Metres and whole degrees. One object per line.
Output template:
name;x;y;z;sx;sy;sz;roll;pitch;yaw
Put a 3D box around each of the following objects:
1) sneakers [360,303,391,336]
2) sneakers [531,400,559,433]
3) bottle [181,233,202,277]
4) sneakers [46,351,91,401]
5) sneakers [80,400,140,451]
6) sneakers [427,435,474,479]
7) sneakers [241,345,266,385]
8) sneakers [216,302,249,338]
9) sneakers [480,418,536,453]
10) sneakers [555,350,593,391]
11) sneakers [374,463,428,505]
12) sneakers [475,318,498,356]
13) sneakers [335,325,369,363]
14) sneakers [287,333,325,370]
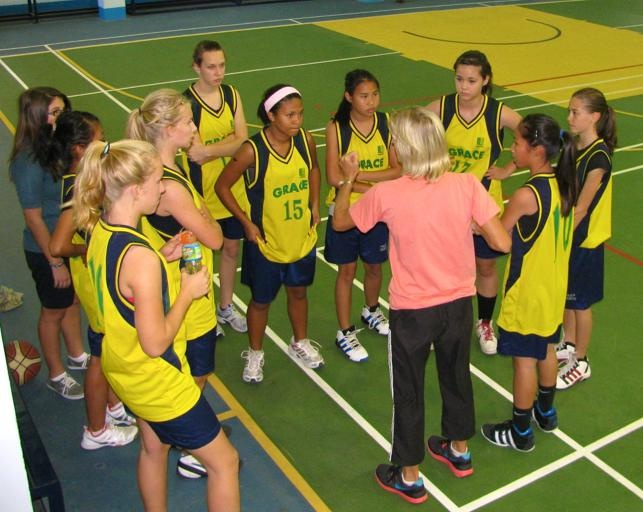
sneakers;0.570;0.679;5.980;0.392;0.285;0.170;34;53;27
sneakers;1.850;1.328;4.755;0.112;0.156;0.344;-6;24;-1
bottle;-0.788;-0.021;3.429;0.114;0.234;0.259;-7;11;-14
sneakers;-2.378;1.116;5.262;0.639;0.289;0.230;19;35;32
sneakers;-1.726;1.425;4.678;0.573;0.275;0.228;-10;52;-47
sneakers;0.999;1.543;4.503;0.177;0.231;0.460;-12;26;-28
sneakers;-0.662;1.013;5.437;0.212;0.210;0.457;7;26;-8
sneakers;-0.955;0.675;6.081;0.471;0.303;0.195;25;42;18
sneakers;1.509;1.454;4.663;0.434;0.225;0.202;17;45;21
sneakers;2.308;1.070;5.285;0.473;0.251;0.196;-18;16;-19
sneakers;0.572;1.712;4.238;0.194;0.210;0.442;-28;41;-32
sneakers;1.693;0.790;5.793;0.160;0.227;0.516;-3;23;6
sneakers;0.285;0.877;5.681;0.171;0.224;0.463;-25;47;-25
sneakers;-0.160;0.928;5.571;0.438;0.219;0.181;23;24;39
